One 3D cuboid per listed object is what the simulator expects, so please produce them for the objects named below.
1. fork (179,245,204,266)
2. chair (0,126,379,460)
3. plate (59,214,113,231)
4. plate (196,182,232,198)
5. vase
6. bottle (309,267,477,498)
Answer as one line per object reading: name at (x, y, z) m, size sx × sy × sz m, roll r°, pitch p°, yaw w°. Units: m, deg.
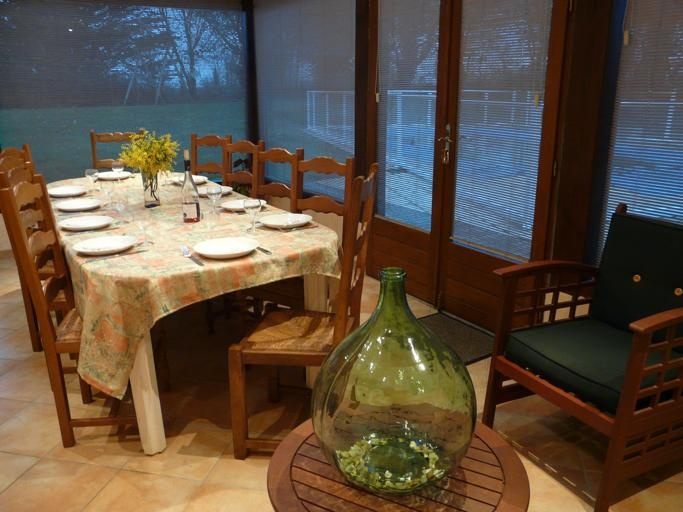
fork at (-0.678, -0.014, 2.281) m, size 0.061 × 0.017 × 0.224 m, roll -25°, pitch 30°, yaw -24°
chair at (-0.931, 0.100, 2.821) m, size 1.279 × 1.054 × 1.842 m, roll -10°, pitch 22°, yaw -24°
plate at (-1.382, -0.174, 2.710) m, size 0.170 × 0.024 × 0.151 m, roll 4°, pitch 21°, yaw 2°
plate at (-0.805, -0.412, 3.172) m, size 0.212 × 0.027 × 0.207 m, roll -15°, pitch 28°, yaw -36°
vase at (0.140, 0.338, 1.366) m, size 0.436 × 0.576 × 0.252 m, roll 4°, pitch 23°, yaw 14°
bottle at (0.140, 0.338, 1.366) m, size 0.436 × 0.576 × 0.252 m, roll 4°, pitch 23°, yaw 14°
